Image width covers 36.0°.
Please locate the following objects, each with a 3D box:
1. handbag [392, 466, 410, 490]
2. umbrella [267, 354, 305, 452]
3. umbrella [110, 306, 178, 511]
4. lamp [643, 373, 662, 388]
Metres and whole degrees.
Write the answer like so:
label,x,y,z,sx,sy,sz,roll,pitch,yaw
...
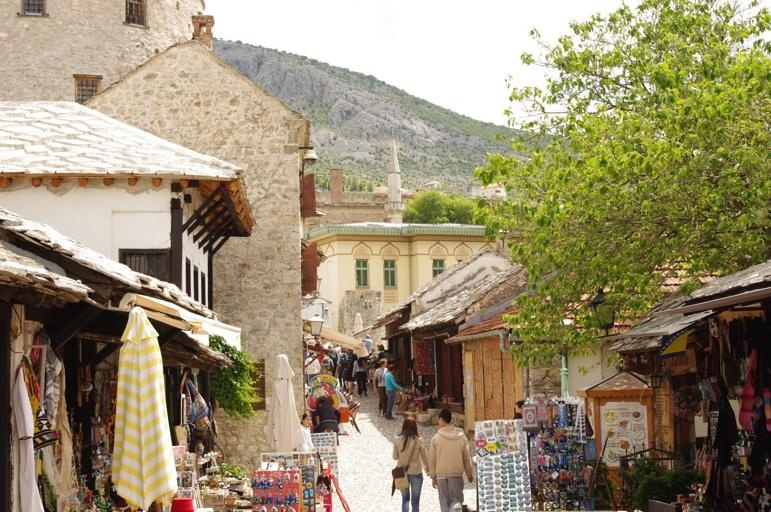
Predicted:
label,x,y,z,sx,sy,sz,roll,pitch,yaw
handbag,0.304,4.166,22.182,0.417,0.529,0.240,-4,-5,6
umbrella,-2.141,3.201,25.567,0.704,2.126,1.253,0,-13,-12
umbrella,-3.521,2.235,17.366,0.841,2.872,0.541,0,-12,-12
lamp,5.338,2.516,23.750,0.280,0.392,0.297,-1,3,-16
